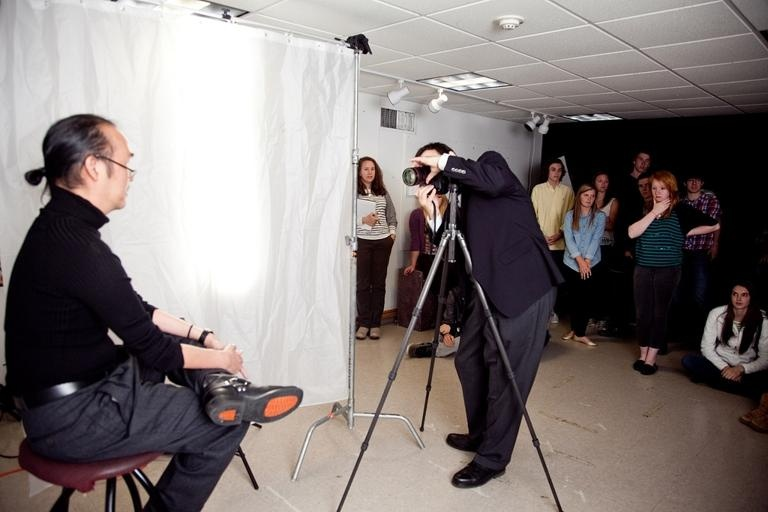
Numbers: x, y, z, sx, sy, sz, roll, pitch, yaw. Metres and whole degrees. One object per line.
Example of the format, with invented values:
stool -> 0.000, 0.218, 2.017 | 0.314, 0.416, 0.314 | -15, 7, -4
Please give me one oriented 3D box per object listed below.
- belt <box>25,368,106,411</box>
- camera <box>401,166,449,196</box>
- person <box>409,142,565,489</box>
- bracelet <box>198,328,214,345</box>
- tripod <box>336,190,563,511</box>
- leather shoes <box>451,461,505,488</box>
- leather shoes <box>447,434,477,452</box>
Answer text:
belt -> -1.347, 0.566, 2.127 | 0.182, 0.042, 0.172 | -11, 0, -18
camera -> 0.238, -0.446, 3.022 | 0.198, 0.113, 0.194 | 7, -7, -25
person -> 0.612, 0.336, 3.252 | 1.044, 1.987, 0.825 | 3, 0, 5
bracelet -> -0.899, 0.409, 2.573 | 0.055, 0.076, 0.032 | 15, -5, 27
tripod -> 0.422, 0.478, 3.313 | 1.254, 1.879, 1.262 | -1, 12, -3
leather shoes -> 0.589, 1.361, 3.235 | 0.343, 0.146, 0.137 | 2, -5, -22
leather shoes -> 0.541, 1.266, 3.538 | 0.213, 0.084, 0.094 | 13, 11, 32
